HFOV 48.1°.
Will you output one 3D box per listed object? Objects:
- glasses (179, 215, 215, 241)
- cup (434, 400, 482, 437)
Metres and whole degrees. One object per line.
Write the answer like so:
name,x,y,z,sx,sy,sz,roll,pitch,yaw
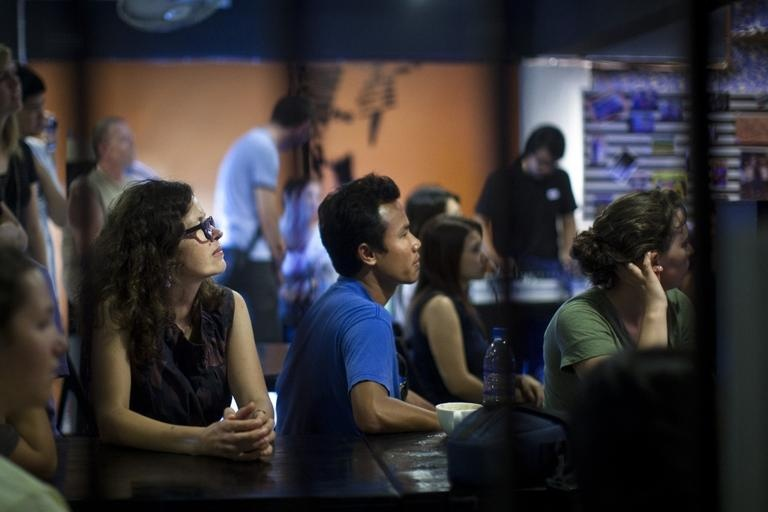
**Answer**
glasses,-0.640,-0.095,2.945,0.083,0.038,0.083,-22,-3,-7
cup,0.237,0.536,2.790,0.138,0.101,0.214,1,3,10
